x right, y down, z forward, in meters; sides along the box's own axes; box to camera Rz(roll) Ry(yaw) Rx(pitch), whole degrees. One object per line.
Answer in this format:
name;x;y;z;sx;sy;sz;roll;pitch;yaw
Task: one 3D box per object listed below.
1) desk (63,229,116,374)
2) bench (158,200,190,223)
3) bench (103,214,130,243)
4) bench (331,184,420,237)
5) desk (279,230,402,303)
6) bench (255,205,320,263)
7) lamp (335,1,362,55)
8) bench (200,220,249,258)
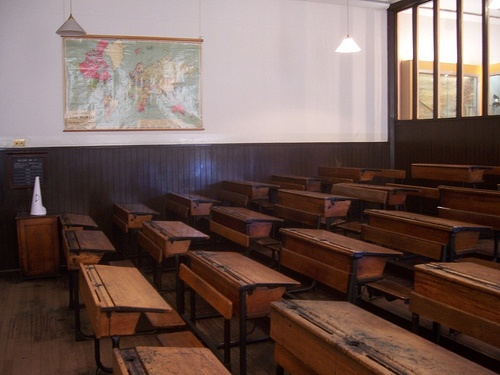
desk;-1.519;1.104;3.639;0.313;0.650;1.018;-4;16;-23
bench;-1.244;0.382;6.293;0.143;0.251;0.411;-4;8;-39
bench;-2.064;0.663;6.235;0.139;0.504;0.576;-9;1;30
bench;1.672;0.308;5.251;0.314;0.549;0.867;-6;7;-37
desk;0.876;0.757;3.680;0.328;0.446;0.897;-3;4;-28
bench;0.442;0.571;4.654;0.408;0.570;0.958;0;1;-16
lamp;1.857;-3.092;7.305;0.444;1.231;1.390;0;9;14
bench;-0.374;0.697;5.322;0.354;0.190;0.828;-3;7;-29
